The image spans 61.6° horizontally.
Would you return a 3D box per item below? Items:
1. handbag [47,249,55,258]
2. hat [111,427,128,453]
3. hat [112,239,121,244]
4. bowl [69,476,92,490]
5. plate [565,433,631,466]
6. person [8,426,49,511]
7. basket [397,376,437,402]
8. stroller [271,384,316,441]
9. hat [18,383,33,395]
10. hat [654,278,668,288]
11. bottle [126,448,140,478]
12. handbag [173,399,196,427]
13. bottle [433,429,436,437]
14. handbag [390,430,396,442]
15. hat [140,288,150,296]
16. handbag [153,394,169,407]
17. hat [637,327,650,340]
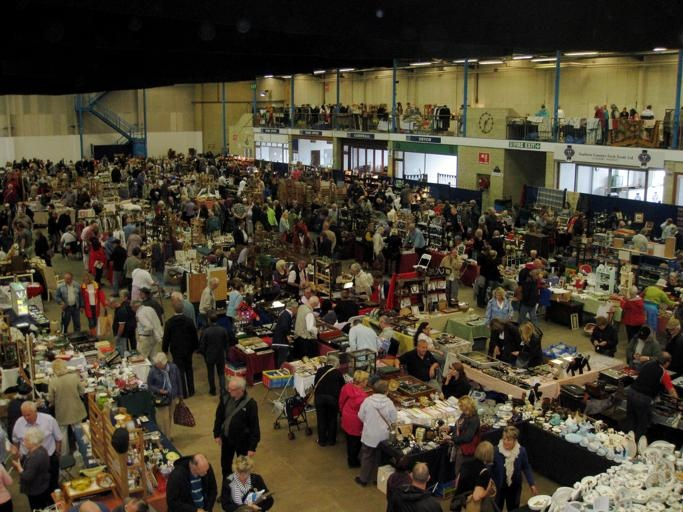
[{"bbox_3d":[-8.264,-0.065,16.394,0.054,0.243,0.231,-13,-6,39],"label":"handbag"},{"bbox_3d":[-2.231,1.886,5.833,0.149,0.259,0.253,-2,-6,-19],"label":"hat"},{"bbox_3d":[-5.246,-0.347,13.399,0.090,0.121,0.121,3,9,18],"label":"hat"},{"bbox_3d":[-2.691,2.375,5.985,0.163,0.095,0.211,-8,-6,31],"label":"bowl"},{"bbox_3d":[3.096,2.318,6.990,0.689,0.247,0.411,-7,-6,23],"label":"plate"},{"bbox_3d":[-3.297,2.270,6.157,0.348,0.901,0.722,-1,-6,-29],"label":"person"},{"bbox_3d":[1.061,1.900,8.285,0.529,0.290,0.410,-7,-6,24],"label":"basket"},{"bbox_3d":[-0.717,2.320,8.672,0.500,0.724,0.401,4,-3,-42],"label":"stroller"},{"bbox_3d":[-3.704,1.561,6.756,0.104,0.126,0.135,7,39,-11],"label":"hat"},{"bbox_3d":[6.835,0.577,12.284,0.188,0.088,0.194,-3,11,-11],"label":"hat"},{"bbox_3d":[-2.200,2.199,6.099,0.115,0.289,0.143,-1,-6,-25],"label":"bottle"},{"bbox_3d":[-2.169,2.164,7.907,0.253,0.377,0.340,-2,-6,-18],"label":"handbag"},{"bbox_3d":[1.183,2.213,7.207,0.050,0.076,0.032,-5,-5,9],"label":"bottle"},{"bbox_3d":[0.644,2.244,7.149,0.080,0.126,0.086,0,-4,-3],"label":"handbag"},{"bbox_3d":[-3.221,0.596,9.497,0.117,0.137,0.266,-3,-6,-8],"label":"hat"},{"bbox_3d":[-2.396,1.912,7.642,0.154,0.189,0.084,3,20,-16],"label":"handbag"},{"bbox_3d":[4.821,1.238,9.216,0.131,0.224,0.274,-3,-5,-12],"label":"hat"}]
